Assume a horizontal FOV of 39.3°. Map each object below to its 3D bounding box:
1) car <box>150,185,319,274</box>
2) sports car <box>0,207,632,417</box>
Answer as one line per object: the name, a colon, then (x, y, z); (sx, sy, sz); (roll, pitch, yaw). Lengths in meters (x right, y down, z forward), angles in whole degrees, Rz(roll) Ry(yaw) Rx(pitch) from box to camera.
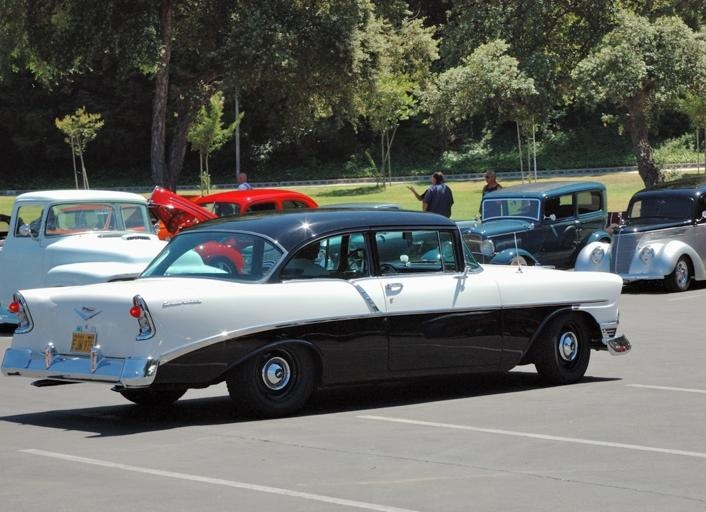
car: (-2.531, -0.764, 17.757); (3.662, 1.580, 1.687); (-1, -1, 3)
sports car: (-0.022, 0.508, 10.873); (5.826, 1.616, 2.514); (-2, 3, -31)
